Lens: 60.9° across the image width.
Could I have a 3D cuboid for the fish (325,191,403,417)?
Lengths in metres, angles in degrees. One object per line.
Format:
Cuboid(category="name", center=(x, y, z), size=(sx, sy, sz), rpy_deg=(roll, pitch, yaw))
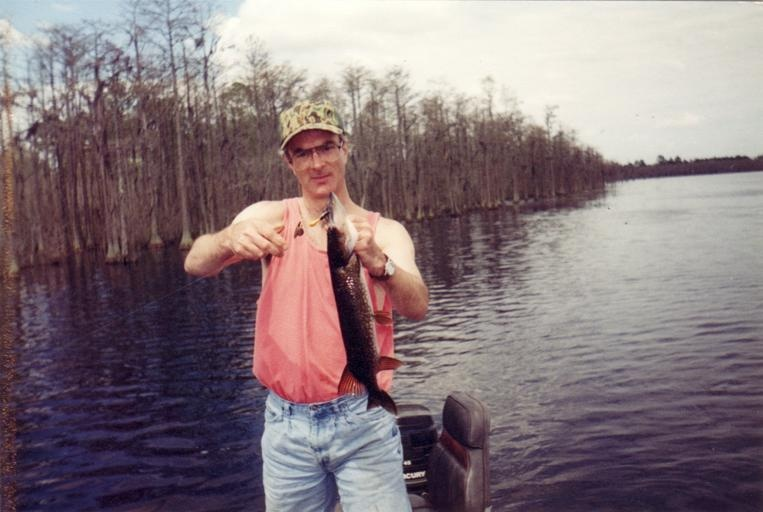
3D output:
Cuboid(category="fish", center=(-0.202, 0.547, 7.022), size=(0.665, 2.434, 0.457), rpy_deg=(-5, 14, -3))
